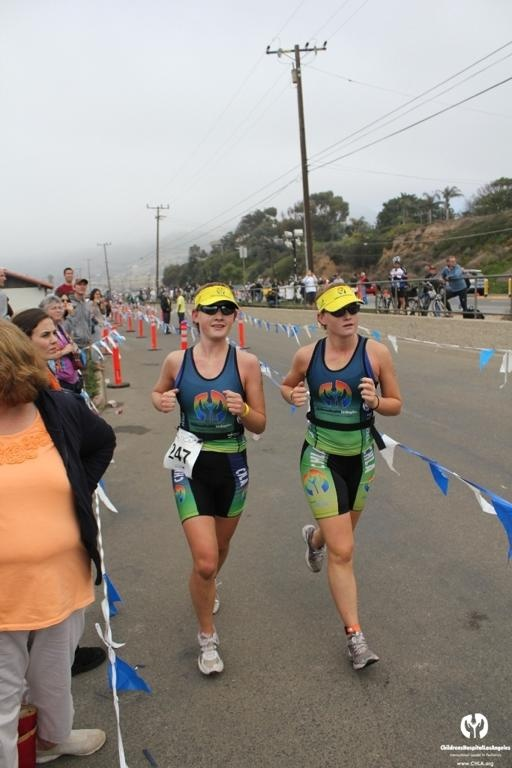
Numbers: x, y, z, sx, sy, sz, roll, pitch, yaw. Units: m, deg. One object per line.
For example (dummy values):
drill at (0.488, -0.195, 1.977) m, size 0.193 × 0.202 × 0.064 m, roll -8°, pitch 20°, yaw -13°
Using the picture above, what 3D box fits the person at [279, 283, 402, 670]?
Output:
person at (0.401, 0.371, 2.842) m, size 0.665 × 1.819 × 0.848 m, roll -1°, pitch 5°, yaw 19°

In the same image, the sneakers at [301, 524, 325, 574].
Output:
sneakers at (0.352, 1.079, 3.470) m, size 0.111 × 0.337 × 0.138 m, roll -8°, pitch -5°, yaw -42°

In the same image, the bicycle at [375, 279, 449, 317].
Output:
bicycle at (4.687, -2.485, 15.861) m, size 0.802 × 1.009 × 1.756 m, roll -8°, pitch 11°, yaw -33°

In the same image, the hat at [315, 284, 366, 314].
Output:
hat at (0.447, -0.467, 3.019) m, size 0.163 × 0.096 × 0.235 m, roll -15°, pitch 12°, yaw -15°

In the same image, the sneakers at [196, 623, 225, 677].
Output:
sneakers at (-0.226, 1.276, 2.543) m, size 0.088 × 0.100 × 0.212 m, roll 0°, pitch 1°, yaw -7°

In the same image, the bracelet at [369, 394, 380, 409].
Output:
bracelet at (0.609, 0.094, 2.776) m, size 0.053 × 0.065 × 0.071 m, roll 0°, pitch -27°, yaw 8°

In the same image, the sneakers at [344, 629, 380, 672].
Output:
sneakers at (0.500, 1.230, 2.515) m, size 0.138 × 0.166 × 0.245 m, roll -2°, pitch 5°, yaw 3°

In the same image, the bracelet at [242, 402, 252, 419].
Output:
bracelet at (-0.045, 0.132, 2.662) m, size 0.050 × 0.065 × 0.037 m, roll -19°, pitch 50°, yaw -20°

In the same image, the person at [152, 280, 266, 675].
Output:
person at (-0.287, 0.404, 2.789) m, size 0.550 × 1.862 × 0.663 m, roll 0°, pitch 6°, yaw 26°
